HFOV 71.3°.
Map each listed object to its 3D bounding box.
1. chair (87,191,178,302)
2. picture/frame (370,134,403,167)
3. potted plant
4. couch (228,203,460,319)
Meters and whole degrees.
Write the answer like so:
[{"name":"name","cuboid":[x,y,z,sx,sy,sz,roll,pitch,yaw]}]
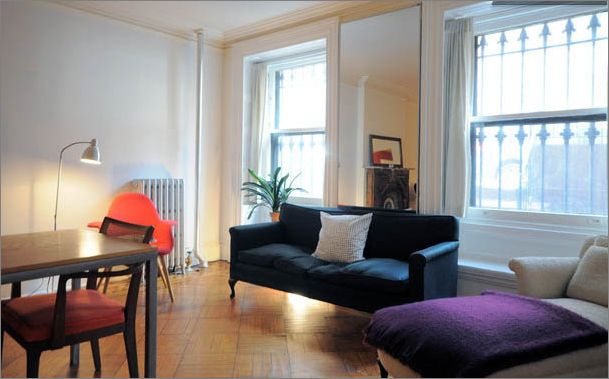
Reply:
[{"name":"chair","cuboid":[-1.840,0.606,4.662,0.946,1.114,0.930,-1,0,-1]},{"name":"picture/frame","cuboid":[0.962,-0.454,4.906,0.408,0.328,0.043,1,7,17]},{"name":"potted plant","cuboid":[-0.474,0.019,6.026,0.838,0.674,0.837,2,-1,29]},{"name":"couch","cuboid":[0.329,0.767,4.622,2.383,1.098,1.059,3,3,36]}]
